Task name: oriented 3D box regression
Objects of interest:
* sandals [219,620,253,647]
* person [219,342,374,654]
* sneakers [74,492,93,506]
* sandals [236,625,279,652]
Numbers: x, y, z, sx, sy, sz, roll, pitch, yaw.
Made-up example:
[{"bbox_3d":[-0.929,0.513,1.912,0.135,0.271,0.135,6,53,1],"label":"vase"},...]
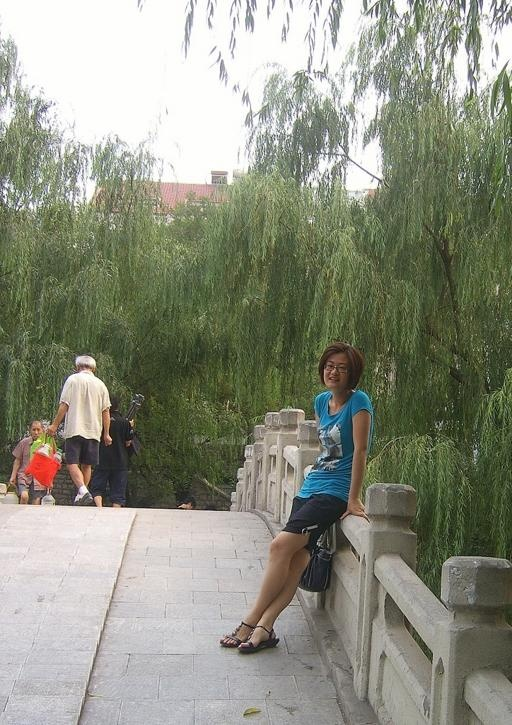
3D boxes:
[{"bbox_3d":[-0.074,1.196,2.586,0.167,0.104,0.093,5,-42,0],"label":"sandals"},{"bbox_3d":[0.257,0.548,2.616,0.545,1.518,0.455,19,-19,-25],"label":"person"},{"bbox_3d":[-1.726,1.360,5.899,0.171,0.176,0.396,4,-5,-22],"label":"sneakers"},{"bbox_3d":[0.020,1.204,2.612,0.079,0.169,0.241,-16,-24,35],"label":"sandals"}]
